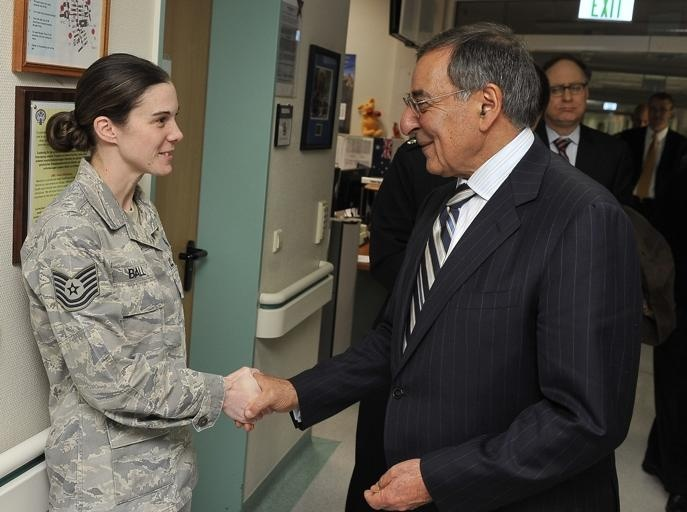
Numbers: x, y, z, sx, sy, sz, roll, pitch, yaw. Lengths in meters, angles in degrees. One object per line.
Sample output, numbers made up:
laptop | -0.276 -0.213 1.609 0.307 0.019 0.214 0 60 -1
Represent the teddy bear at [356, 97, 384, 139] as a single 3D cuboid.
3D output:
teddy bear | 0.371 -1.949 7.520 0.348 0.557 0.310 -19 21 -27
